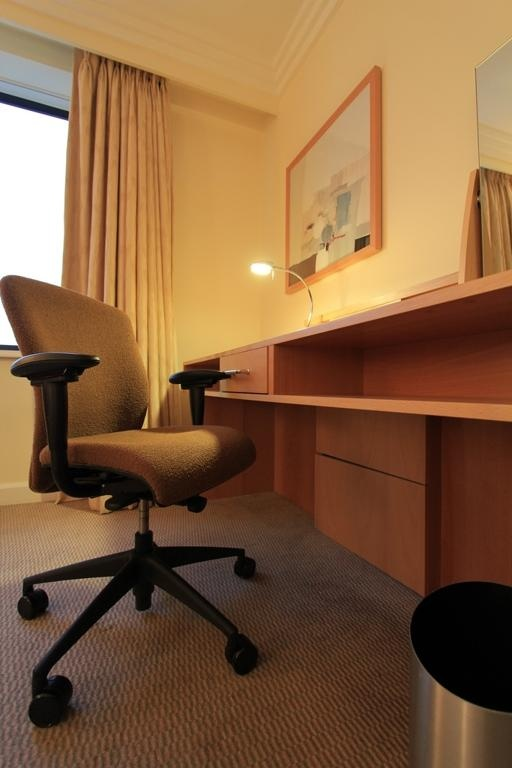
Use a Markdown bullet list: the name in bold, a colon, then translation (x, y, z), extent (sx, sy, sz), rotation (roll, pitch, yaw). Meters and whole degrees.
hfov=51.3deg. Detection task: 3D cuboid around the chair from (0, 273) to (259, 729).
- **chair**: translation (-0.315, 0.172, 1.385), extent (0.609, 0.887, 0.749), rotation (-2, 8, -16)
